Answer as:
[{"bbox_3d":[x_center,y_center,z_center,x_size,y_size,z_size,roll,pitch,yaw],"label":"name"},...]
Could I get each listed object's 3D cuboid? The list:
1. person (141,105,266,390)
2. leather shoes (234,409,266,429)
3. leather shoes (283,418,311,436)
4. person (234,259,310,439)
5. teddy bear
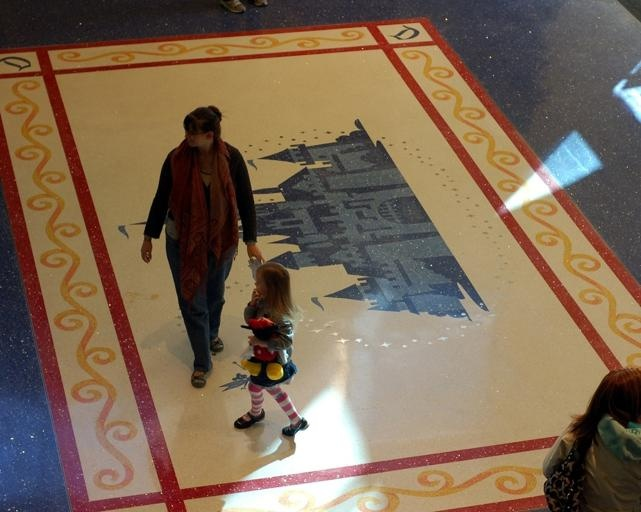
[{"bbox_3d":[-0.592,-0.046,2.999,0.565,0.381,1.320,-3,-60,-15],"label":"person"},{"bbox_3d":[-0.350,0.817,3.099,0.144,0.070,0.057,-21,-46,-9],"label":"leather shoes"},{"bbox_3d":[-0.124,0.838,3.033,0.128,0.073,0.054,-33,-50,-3],"label":"leather shoes"},{"bbox_3d":[-0.238,0.443,2.836,0.318,0.323,0.846,10,-69,15],"label":"person"},{"bbox_3d":[-0.244,0.411,2.778,0.239,0.132,0.324,4,-64,13],"label":"teddy bear"}]
